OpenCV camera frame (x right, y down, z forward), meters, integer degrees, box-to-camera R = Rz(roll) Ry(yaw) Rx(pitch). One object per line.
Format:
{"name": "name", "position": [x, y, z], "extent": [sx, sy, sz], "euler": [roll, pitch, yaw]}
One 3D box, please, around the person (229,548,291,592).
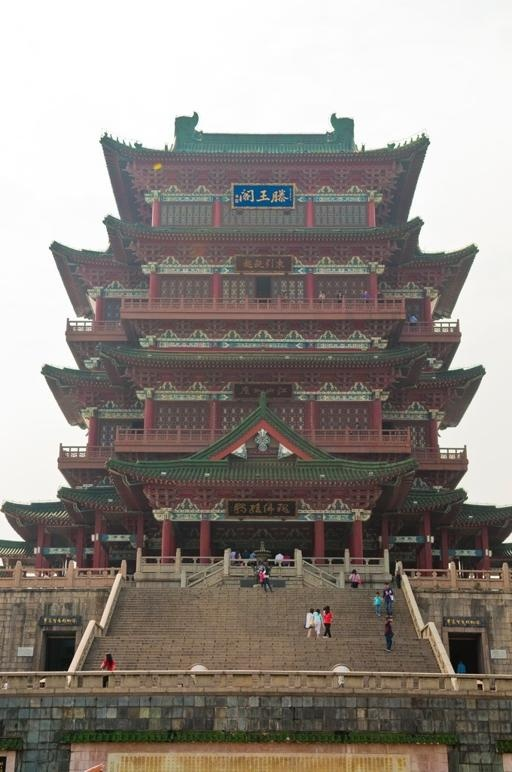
{"name": "person", "position": [0.129, 6.396, 29.279], "extent": [1.631, 0.926, 0.995], "euler": [2, -25, -4]}

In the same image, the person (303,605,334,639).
{"name": "person", "position": [1.778, 6.775, 24.002], "extent": [0.720, 0.891, 0.393], "euler": [1, -43, 4]}

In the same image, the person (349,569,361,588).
{"name": "person", "position": [3.384, 6.706, 28.863], "extent": [0.404, 0.675, 1.077], "euler": [3, 14, 7]}
